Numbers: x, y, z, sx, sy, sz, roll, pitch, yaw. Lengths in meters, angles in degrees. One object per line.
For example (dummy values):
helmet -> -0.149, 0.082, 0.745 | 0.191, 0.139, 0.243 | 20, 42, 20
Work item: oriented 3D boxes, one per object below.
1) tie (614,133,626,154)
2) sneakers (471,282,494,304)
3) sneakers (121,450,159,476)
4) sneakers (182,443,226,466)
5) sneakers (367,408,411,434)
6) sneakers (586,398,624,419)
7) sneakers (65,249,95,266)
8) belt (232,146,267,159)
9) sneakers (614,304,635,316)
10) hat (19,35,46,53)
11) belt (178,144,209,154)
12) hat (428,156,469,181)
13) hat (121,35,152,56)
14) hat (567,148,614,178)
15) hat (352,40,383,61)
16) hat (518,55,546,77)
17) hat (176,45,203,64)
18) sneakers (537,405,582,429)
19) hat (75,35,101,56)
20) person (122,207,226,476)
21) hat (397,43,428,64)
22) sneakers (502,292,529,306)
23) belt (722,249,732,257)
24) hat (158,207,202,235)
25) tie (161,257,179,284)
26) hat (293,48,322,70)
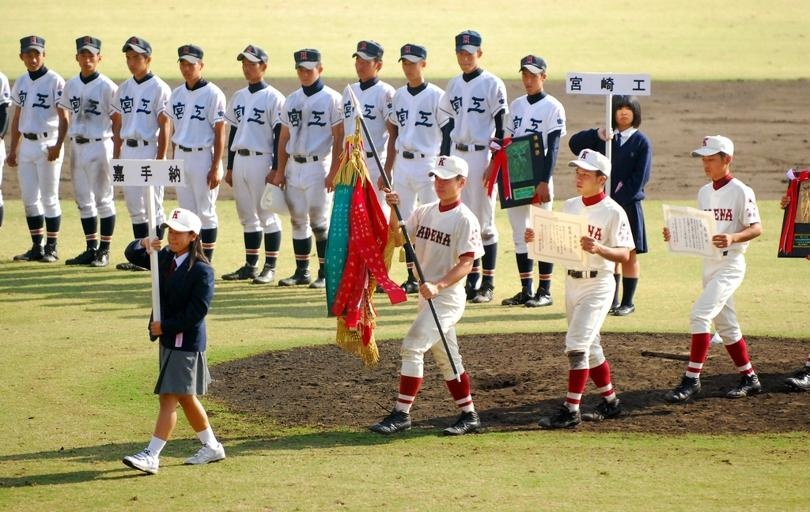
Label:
tie -> 3.447, -1.846, 22.726 | 0.218, 0.229, 0.076 | -9, -25, 29
sneakers -> 1.304, 0.628, 23.539 | 0.221, 0.185, 0.505 | 21, 11, 17
sneakers -> -3.462, 2.709, 18.623 | 0.556, 0.244, 0.247 | 15, 4, -18
sneakers -> -2.648, 2.644, 18.851 | 0.653, 0.212, 0.214 | -3, 8, -6
sneakers -> -0.159, 2.285, 19.470 | 0.765, 0.237, 0.243 | -2, 8, -28
sneakers -> 2.843, 2.147, 19.875 | 0.711, 0.214, 0.210 | -6, 5, -9
sneakers -> -5.742, 0.034, 25.220 | 0.748, 0.226, 0.210 | 1, 11, -6
belt -> -2.703, -1.784, 24.291 | 0.684, 0.136, 0.227 | 2, 6, 28
sneakers -> 3.518, 0.868, 22.808 | 0.396, 0.112, 0.134 | -3, 6, -31
hat -> -6.706, -3.774, 25.303 | 0.646, 0.248, 0.749 | -3, 8, -22
belt -> -3.682, -1.847, 24.332 | 0.628, 0.125, 0.200 | 1, 6, 16
hat -> 0.677, -1.235, 19.644 | 0.389, 0.208, 0.518 | 2, 3, 38
hat -> -4.654, -3.659, 24.435 | 0.370, 0.210, 0.437 | 7, -10, 15
hat -> 2.659, -1.308, 19.781 | 0.617, 0.206, 0.396 | 9, 4, -25
hat -> -0.510, -3.446, 23.637 | 0.612, 0.259, 0.407 | 4, 7, -26
hat -> 2.114, -3.074, 22.857 | 0.331, 0.184, 0.444 | 7, -6, 35
hat -> -3.688, -3.464, 24.230 | 0.351, 0.192, 0.404 | 1, -3, 13
sneakers -> 2.174, 2.227, 19.622 | 0.727, 0.238, 0.240 | -3, 13, -7
hat -> -5.570, -3.709, 24.864 | 0.442, 0.173, 0.497 | -1, 7, -6
person -> -3.032, 1.108, 18.955 | 1.076, 3.433, 0.914 | -2, 7, -7
hat -> 0.174, -3.365, 23.400 | 0.384, 0.194, 0.490 | 1, -3, 39
sneakers -> 1.845, 0.704, 23.331 | 0.567, 0.168, 0.176 | 1, 1, -1
belt -> 4.614, -0.050, 20.246 | 0.147, 0.091, 0.031 | -2, 6, -9
hat -> -2.934, -0.464, 19.073 | 0.357, 0.205, 0.468 | 13, -4, 42
tie -> -3.205, 0.188, 19.085 | 0.274, 0.311, 0.118 | -16, -42, 43
hat -> -1.622, -3.301, 23.671 | 0.384, 0.214, 0.447 | 2, 9, 19
